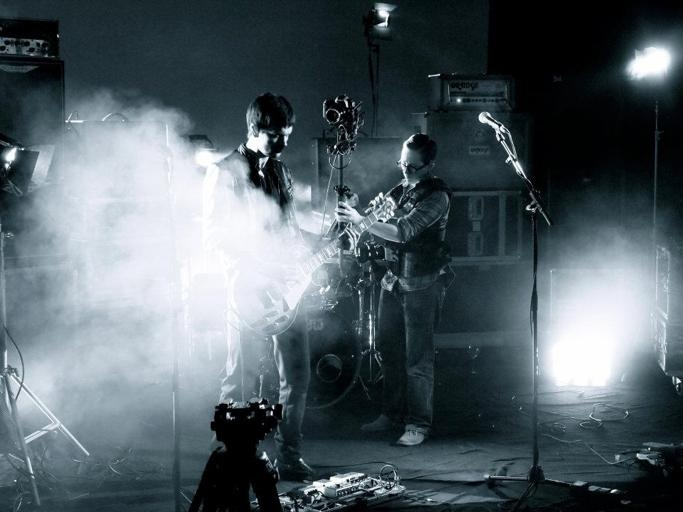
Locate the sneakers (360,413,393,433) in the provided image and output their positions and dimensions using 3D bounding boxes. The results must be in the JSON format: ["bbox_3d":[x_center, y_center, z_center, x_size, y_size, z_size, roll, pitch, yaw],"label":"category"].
[{"bbox_3d":[0.281,1.305,5.796,0.295,0.192,0.098,2,-5,-5],"label":"sneakers"}]

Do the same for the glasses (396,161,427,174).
[{"bbox_3d":[0.515,-0.632,5.450,0.123,0.039,0.116,-1,22,-26],"label":"glasses"}]

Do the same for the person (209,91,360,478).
[{"bbox_3d":[-0.509,0.220,4.864,0.605,2.500,0.777,0,10,-3],"label":"person"}]

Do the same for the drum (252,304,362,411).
[{"bbox_3d":[-0.228,0.775,6.244,0.945,0.956,0.923,0,-6,4],"label":"drum"}]

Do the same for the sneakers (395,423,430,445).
[{"bbox_3d":[0.524,1.320,5.526,0.103,0.100,0.282,7,-1,38],"label":"sneakers"}]
